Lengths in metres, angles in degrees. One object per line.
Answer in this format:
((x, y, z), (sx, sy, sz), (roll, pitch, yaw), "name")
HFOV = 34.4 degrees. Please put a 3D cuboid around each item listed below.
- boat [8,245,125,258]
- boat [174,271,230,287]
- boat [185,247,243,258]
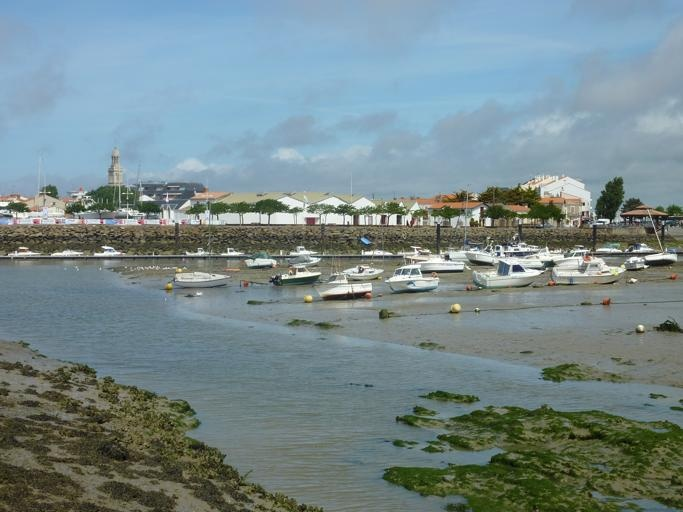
((-29.456, -0.475, 116.691), (10.110, 1.059, 1.466), (-1, 2, -6), "boat")
((-9.451, 1.569, 73.628), (4.344, 0.893, 1.157), (-1, 11, -2), "boat")
((-13.725, -0.379, 117.887), (6.732, 0.913, 1.342), (-1, 2, 0), "boat")
